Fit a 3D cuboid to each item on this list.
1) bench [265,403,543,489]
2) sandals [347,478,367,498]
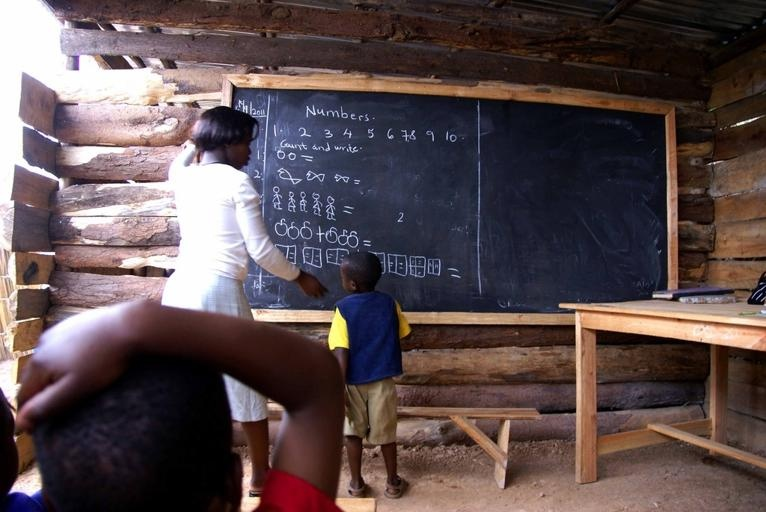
[{"bbox_3d":[0.344,1.299,3.874,1.424,0.445,0.303,0,-6,8],"label":"bench"},{"bbox_3d":[-0.162,1.498,3.589,0.127,0.081,0.222,0,-20,2],"label":"sandals"}]
